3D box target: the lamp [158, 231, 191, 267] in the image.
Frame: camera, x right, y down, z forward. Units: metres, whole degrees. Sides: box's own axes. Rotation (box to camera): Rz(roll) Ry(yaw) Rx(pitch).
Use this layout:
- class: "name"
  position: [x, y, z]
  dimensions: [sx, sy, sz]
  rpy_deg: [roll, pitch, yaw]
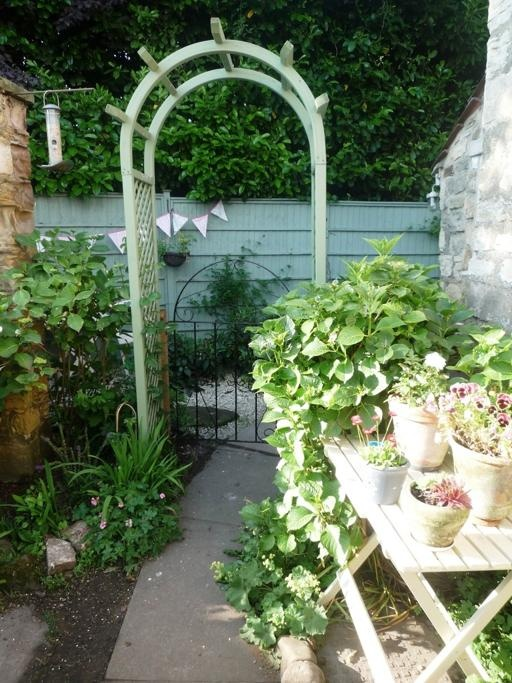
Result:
- class: "lamp"
  position: [-0.854, -0.982, 5.446]
  dimensions: [0.344, 0.318, 0.257]
  rpy_deg: [-6, 12, -6]

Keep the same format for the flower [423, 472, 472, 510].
- class: "flower"
  position: [0.418, 0.334, 1.131]
  dimensions: [0.077, 0.028, 0.077]
  rpy_deg: [-28, 31, -24]

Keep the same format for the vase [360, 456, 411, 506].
- class: "vase"
  position: [0.332, 0.368, 1.344]
  dimensions: [0.126, 0.102, 0.116]
  rpy_deg: [-1, -1, 1]

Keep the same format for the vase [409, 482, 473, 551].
- class: "vase"
  position: [0.387, 0.376, 1.135]
  dimensions: [0.137, 0.111, 0.144]
  rpy_deg: [2, 3, 1]

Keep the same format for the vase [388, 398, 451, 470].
- class: "vase"
  position: [0.431, 0.261, 1.457]
  dimensions: [0.191, 0.141, 0.182]
  rpy_deg: [0, 16, -4]
